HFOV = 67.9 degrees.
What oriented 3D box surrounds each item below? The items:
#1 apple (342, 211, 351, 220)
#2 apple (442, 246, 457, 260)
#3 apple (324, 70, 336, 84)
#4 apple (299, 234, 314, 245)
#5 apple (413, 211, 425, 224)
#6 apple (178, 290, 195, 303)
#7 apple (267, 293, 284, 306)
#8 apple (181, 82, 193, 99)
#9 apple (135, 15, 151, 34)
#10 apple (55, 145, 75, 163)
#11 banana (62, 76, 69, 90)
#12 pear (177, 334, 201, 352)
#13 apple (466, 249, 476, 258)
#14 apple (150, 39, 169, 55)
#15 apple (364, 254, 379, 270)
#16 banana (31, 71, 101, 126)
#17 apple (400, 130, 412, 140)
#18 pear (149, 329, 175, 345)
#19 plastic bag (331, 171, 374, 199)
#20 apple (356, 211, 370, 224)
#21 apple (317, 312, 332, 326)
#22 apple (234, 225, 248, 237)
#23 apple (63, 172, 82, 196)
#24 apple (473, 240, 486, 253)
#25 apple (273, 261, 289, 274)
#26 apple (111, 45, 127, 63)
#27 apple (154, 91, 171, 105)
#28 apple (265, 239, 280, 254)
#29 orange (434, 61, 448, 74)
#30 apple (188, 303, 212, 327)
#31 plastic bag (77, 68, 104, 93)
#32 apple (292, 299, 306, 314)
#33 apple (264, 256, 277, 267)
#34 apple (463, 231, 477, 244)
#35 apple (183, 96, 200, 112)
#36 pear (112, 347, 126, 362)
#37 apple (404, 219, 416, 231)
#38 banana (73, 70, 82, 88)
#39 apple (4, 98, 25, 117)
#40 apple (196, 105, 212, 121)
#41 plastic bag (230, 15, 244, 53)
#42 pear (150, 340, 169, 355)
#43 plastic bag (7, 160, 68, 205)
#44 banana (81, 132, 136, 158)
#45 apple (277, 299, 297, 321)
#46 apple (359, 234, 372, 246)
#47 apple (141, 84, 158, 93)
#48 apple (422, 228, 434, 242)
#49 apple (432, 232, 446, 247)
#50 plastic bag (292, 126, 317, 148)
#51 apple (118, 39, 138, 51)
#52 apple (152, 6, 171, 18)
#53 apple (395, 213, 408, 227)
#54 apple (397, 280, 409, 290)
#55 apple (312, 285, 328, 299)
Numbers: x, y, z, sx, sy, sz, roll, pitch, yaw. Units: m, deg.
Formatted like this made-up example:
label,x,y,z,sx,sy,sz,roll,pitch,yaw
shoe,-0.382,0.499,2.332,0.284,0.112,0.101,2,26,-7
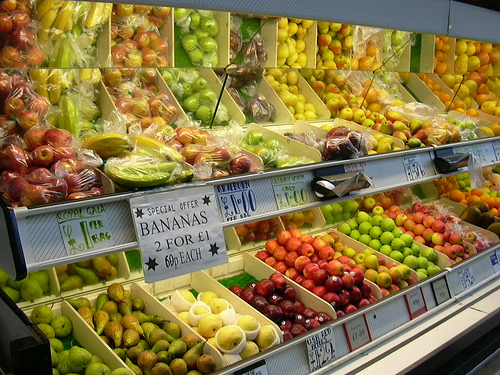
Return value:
label,x,y,z,sx,sy,sz,roll,pitch,yaw
apple,0.795,0.225,3.041,0.052,0.058,0.064,25,24,25
apple,1.454,0.477,2.695,0.100,0.090,0.086,-1,16,17
apple,0.727,-1.015,3.384,0.076,0.097,0.073,14,16,-20
apple,0.383,0.338,2.516,0.067,0.072,0.063,-8,10,-39
apple,1.358,0.254,2.973,0.077,0.085,0.100,4,46,35
apple,-0.340,0.593,2.036,0.089,0.062,0.064,6,19,36
apple,0.145,0.634,2.112,0.049,0.056,0.055,-24,2,-11
apple,-0.436,-0.677,2.596,0.078,0.108,0.085,4,19,5
apple,-0.603,-0.920,2.094,0.070,0.093,0.051,27,14,-22
apple,-0.789,-0.145,1.580,0.064,0.051,0.084,-5,11,5
banana,-1.046,-0.588,2.102,0.016,0.054,0.037,1,18,17
pear,-0.287,0.725,1.763,0.097,0.052,0.049,-9,26,-21
apple,1.632,0.482,2.731,0.051,0.045,0.055,-3,4,18
apple,-0.503,-0.794,2.086,0.077,0.070,0.061,1,-12,-18
apple,0.815,0.485,2.501,0.083,0.085,0.103,22,-21,33
banana,-1.025,-0.498,2.044,0.148,0.202,0.289,27,42,18
apple,1.240,-0.428,2.946,0.047,0.080,0.062,-45,6,36
pear,-0.418,0.709,1.784,0.107,0.062,0.059,9,-9,2
plastic bag,0.516,-0.022,1.851,0.080,0.110,0.291,4,15,44
apple,0.867,0.225,2.831,0.076,0.087,0.079,-11,11,-13
apple,0.410,0.710,2.030,0.048,0.051,0.053,23,-9,4
apple,-0.054,0.306,2.581,0.088,0.103,0.057,-7,15,-6
apple,-0.707,-0.020,1.482,0.060,0.089,0.047,4,-26,-12
apple,1.735,0.444,2.807,0.066,0.074,0.071,14,2,8
apple,0.206,0.514,2.361,0.058,0.073,0.066,-9,-11,-15
apple,-0.748,-0.762,2.123,0.072,0.109,0.056,1,3,5
apple,-0.573,-0.594,2.441,0.091,0.100,0.092,3,-10,-2
apple,0.148,0.392,2.508,0.078,0.079,0.081,16,37,-37
orange,2.033,-1.278,3.946,0.158,0.130,0.077,-10,15,-15
apple,-0.258,0.636,1.924,0.090,0.084,0.092,-10,19,-34
plastic bag,-0.957,-0.627,2.236,0.109,0.168,0.066,-11,14,-34
apple,0.290,0.690,2.160,0.020,0.054,0.054,-33,-27,2
apple,0.142,0.482,2.425,0.044,0.045,0.046,3,0,-22
apple,1.698,0.385,2.863,0.085,0.084,0.106,4,18,31
apple,-0.398,-0.591,2.611,0.109,0.104,0.098,0,21,-11
pear,-0.592,0.759,1.703,0.053,0.033,0.042,41,24,-9
apple,1.255,0.289,2.907,0.072,0.083,0.070,-14,1,37
banana,-1.006,-0.635,2.171,0.034,0.100,0.044,-10,15,-21
apple,-1.171,-0.404,1.853,0.073,0.089,0.087,8,20,40
apple,-0.325,-0.528,2.640,0.089,0.123,0.101,2,29,16
plastic bag,-0.089,-1.011,2.428,0.049,0.195,0.149,4,6,6
pear,-0.416,0.735,1.736,0.081,0.042,0.039,-30,-4,7
plastic bag,-0.797,-0.001,1.396,0.158,0.073,0.175,-1,23,5
banana,-0.636,-0.193,1.661,0.250,0.081,0.200,2,-17,-22
apple,0.208,0.672,2.104,0.092,0.104,0.121,16,5,-10
apple,0.850,0.378,2.734,0.065,0.090,0.070,1,18,-12
apple,-0.654,-0.654,2.437,0.067,0.060,0.056,-17,-6,-31
apple,1.356,0.355,2.819,0.076,0.088,0.077,-17,21,-20
apple,1.412,0.381,2.769,0.081,0.089,0.103,27,26,9
plastic bag,0.380,-0.344,2.539,0.146,0.059,0.153,-29,44,-32
apple,-0.694,-0.817,2.128,0.098,0.070,0.044,-1,15,15
apple,-0.480,-0.966,2.032,0.101,0.057,0.082,-10,16,-12
apple,1.204,0.254,2.949,0.078,0.103,0.086,20,48,13
apple,0.993,0.625,2.401,0.058,0.048,0.046,31,-19,-11
apple,0.411,0.601,2.164,0.055,0.064,0.058,-13,30,-36
